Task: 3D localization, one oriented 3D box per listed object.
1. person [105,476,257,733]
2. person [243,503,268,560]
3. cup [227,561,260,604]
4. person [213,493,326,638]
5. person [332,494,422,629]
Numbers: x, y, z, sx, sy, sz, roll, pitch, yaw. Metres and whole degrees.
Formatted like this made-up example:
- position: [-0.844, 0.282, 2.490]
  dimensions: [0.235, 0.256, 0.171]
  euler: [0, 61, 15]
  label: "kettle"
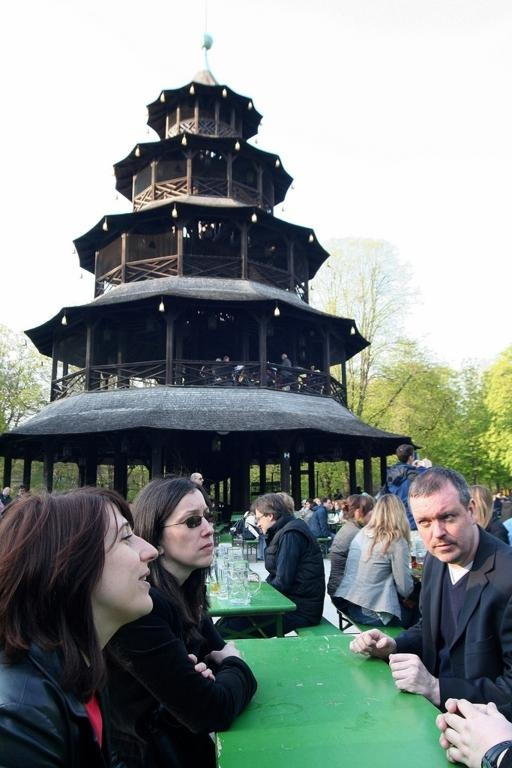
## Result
- position: [-0.296, 0.853, 2.496]
  dimensions: [0.479, 0.877, 0.576]
  euler: [-3, -11, -14]
  label: "person"
- position: [0.049, 2.968, 12.630]
  dimensions: [0.545, 1.083, 0.500]
  euler: [4, -5, 9]
  label: "person"
- position: [-0.092, 1.487, 4.705]
  dimensions: [0.324, 0.327, 0.207]
  euler: [0, -2, -2]
  label: "cup"
- position: [0.113, 1.532, 5.468]
  dimensions: [0.909, 1.081, 0.733]
  euler: [-4, -14, -11]
  label: "person"
- position: [1.066, 1.502, 5.406]
  dimensions: [0.866, 1.023, 0.873]
  euler: [8, -12, 1]
  label: "person"
